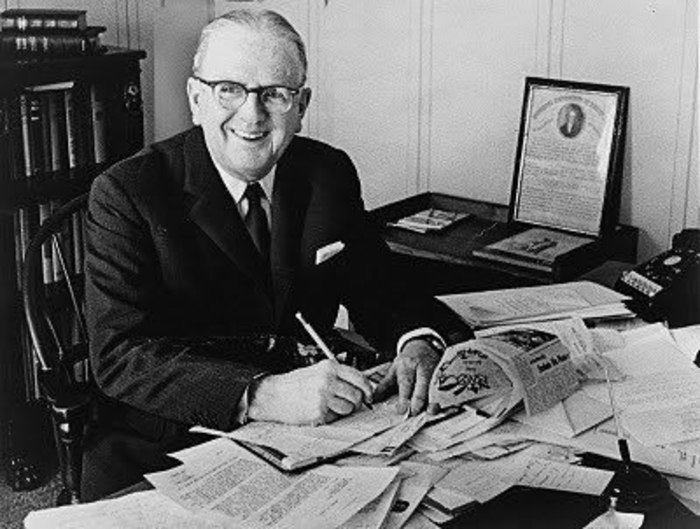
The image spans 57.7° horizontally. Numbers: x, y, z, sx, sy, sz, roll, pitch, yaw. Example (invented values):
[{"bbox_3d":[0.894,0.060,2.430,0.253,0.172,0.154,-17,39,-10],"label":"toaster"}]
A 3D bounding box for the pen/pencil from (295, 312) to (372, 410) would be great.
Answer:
[{"bbox_3d":[-0.039,0.210,1.393,0.016,0.197,0.020,-33,4,33],"label":"pen/pencil"}]

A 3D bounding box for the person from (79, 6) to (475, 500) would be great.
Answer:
[{"bbox_3d":[-0.177,-0.062,1.493,0.791,1.017,0.932,15,21,36],"label":"person"}]

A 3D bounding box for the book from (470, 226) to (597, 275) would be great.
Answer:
[{"bbox_3d":[0.641,-0.063,2.151,0.329,0.086,0.325,16,21,37],"label":"book"}]

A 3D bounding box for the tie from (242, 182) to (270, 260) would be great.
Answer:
[{"bbox_3d":[-0.241,-0.109,1.651,0.051,0.217,0.055,-6,5,-9],"label":"tie"}]

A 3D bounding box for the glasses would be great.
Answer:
[{"bbox_3d":[-0.238,-0.398,1.492,0.230,0.072,0.068,-1,17,-10],"label":"glasses"}]
